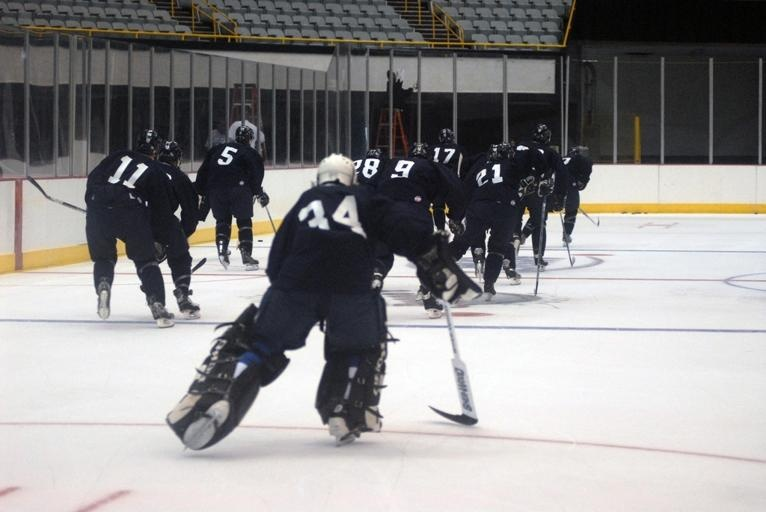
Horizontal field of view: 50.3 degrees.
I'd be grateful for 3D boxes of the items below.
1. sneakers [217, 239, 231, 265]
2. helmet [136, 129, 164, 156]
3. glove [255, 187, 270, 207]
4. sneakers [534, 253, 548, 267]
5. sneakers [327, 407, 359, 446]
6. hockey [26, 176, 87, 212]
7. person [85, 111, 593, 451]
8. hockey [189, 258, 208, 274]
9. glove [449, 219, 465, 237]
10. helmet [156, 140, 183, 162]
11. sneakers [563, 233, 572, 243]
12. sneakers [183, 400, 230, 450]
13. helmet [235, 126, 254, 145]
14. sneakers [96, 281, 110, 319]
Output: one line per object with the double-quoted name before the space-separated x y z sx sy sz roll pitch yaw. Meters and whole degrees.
"sneakers" -2.155 -0.059 11.012 0.128 0.354 0.259 -3 7 7
"helmet" -2.110 -1.036 7.407 0.220 0.256 0.270 9 14 -7
"glove" -1.600 -0.783 11.160 0.115 0.287 0.219 -18 27 -23
"sneakers" 2.072 0.052 10.662 0.126 0.169 0.060 -14 4 -20
"sneakers" -0.217 0.903 4.424 0.167 0.194 0.209 -1 15 -3
"hockey" -4.169 -0.766 10.284 0.599 0.469 1.467 -2 8 -23
"person" -0.335 0.232 4.427 1.546 1.534 0.478 0 8 -11
"hockey" -2.138 0.118 9.475 0.290 0.047 0.028 -38 -16 13
"glove" 0.763 -0.293 8.463 0.135 0.067 0.173 3 -26 6
"helmet" -2.138 -1.052 8.061 0.233 0.254 0.276 1 14 -2
"sneakers" 2.739 -0.269 12.074 0.175 0.085 0.234 0 -14 5
"sneakers" -0.892 0.851 4.246 0.301 0.158 0.087 -44 8 -9
"helmet" -1.846 -1.619 10.973 0.187 0.278 0.103 4 24 10
"sneakers" -2.354 0.372 6.904 0.115 0.308 0.138 3 -2 -17
